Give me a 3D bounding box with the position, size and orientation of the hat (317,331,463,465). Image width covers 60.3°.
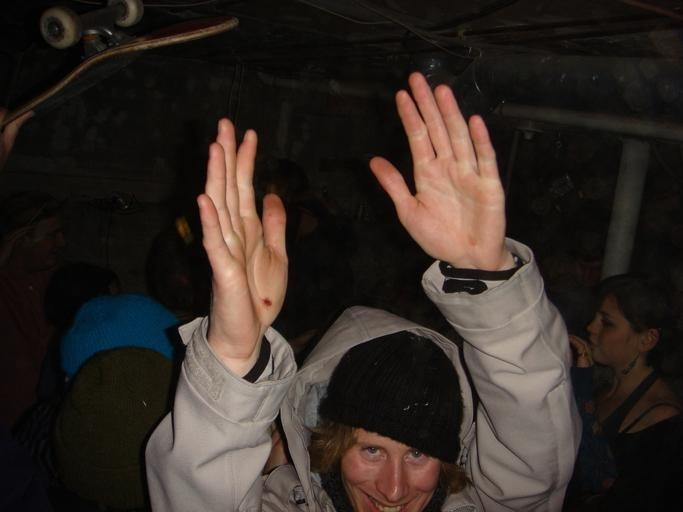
[{"bbox_3d":[0.130,0.425,1.934,0.363,0.272,0.396,37,-29,-25],"label":"hat"}]
